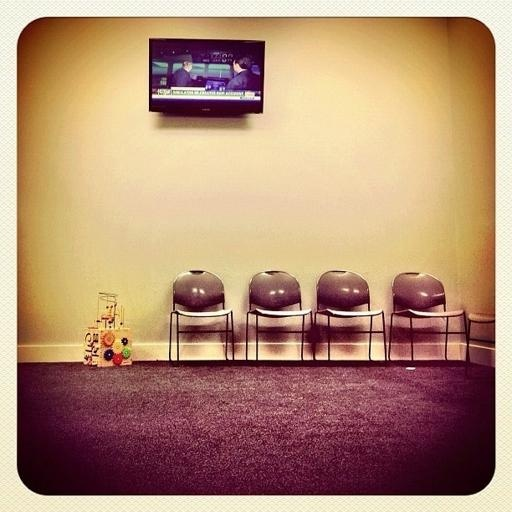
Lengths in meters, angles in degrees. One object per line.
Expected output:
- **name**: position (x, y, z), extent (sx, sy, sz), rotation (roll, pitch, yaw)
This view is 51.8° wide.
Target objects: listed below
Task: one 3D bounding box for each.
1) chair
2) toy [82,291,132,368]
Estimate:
- **chair**: position (0.517, 0.505, 4.384), extent (2.517, 0.777, 0.486), rotation (0, -1, -2)
- **toy**: position (-1.200, 0.587, 4.279), extent (0.397, 0.571, 0.457), rotation (0, -1, -18)
